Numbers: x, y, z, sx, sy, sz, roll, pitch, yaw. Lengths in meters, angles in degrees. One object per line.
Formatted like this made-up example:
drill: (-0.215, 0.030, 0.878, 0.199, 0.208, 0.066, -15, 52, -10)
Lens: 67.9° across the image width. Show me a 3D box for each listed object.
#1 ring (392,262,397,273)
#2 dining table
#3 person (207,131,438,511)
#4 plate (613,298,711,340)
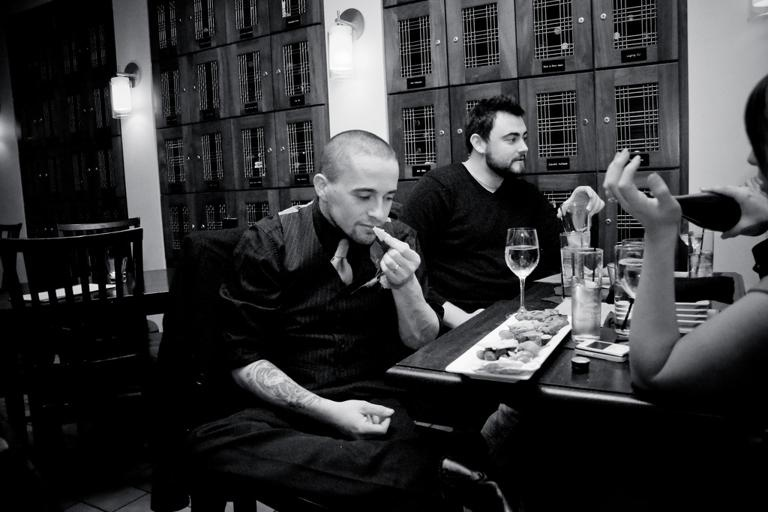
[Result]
ring: (0.040, 0.040, 2.092, 0.007, 0.034, 0.032, 1, -10, -12)
dining table: (0.704, 0.457, 2.016, 0.728, 0.468, 0.757, -2, 9, 16)
person: (-0.216, 0.176, 2.095, 0.807, 1.254, 0.629, -3, 6, 9)
plate: (0.968, 0.207, 1.991, 0.232, 0.085, 0.191, -2, 2, 24)
